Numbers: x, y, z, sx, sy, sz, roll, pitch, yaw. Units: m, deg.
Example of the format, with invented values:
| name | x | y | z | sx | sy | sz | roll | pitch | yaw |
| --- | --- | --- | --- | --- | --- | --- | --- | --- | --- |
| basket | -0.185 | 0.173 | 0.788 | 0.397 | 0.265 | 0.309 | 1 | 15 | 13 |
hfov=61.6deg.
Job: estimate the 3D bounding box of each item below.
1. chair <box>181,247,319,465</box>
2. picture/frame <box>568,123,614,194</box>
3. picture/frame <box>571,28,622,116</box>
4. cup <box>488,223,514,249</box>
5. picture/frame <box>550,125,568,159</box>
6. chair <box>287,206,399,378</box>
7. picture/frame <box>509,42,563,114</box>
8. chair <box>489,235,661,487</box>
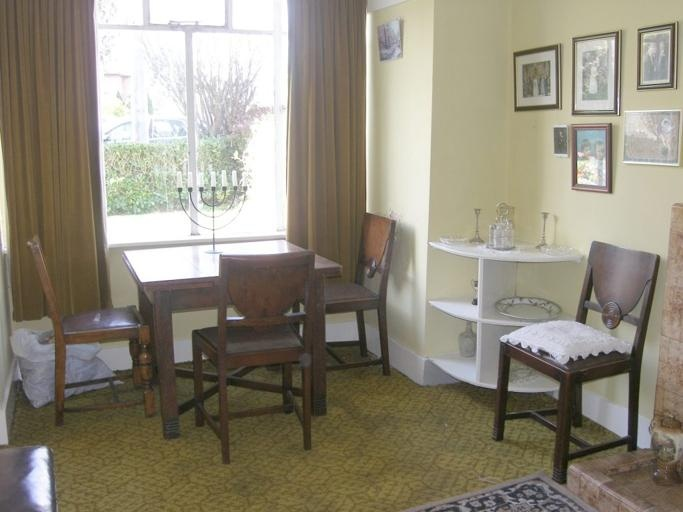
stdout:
| name | x | y | z | sx | sy | sz | roll | pitch | yaw |
| --- | --- | --- | --- | --- | --- | --- | --- | --- | --- |
| chair | -0.543 | 0.623 | 3.452 | 0.808 | 1.668 | 0.938 | -3 | 16 | -20 |
| picture/frame | 1.549 | -0.604 | 3.542 | 0.049 | 0.561 | 0.388 | -4 | 7 | -26 |
| picture/frame | 1.546 | -1.094 | 3.480 | 0.068 | 0.469 | 0.366 | -8 | 15 | -23 |
| cup | 1.065 | -0.146 | 3.852 | 0.149 | 0.197 | 0.158 | -2 | 12 | 0 |
| picture/frame | 1.430 | -0.750 | 3.762 | 0.025 | 0.275 | 0.217 | -1 | 2 | -17 |
| chair | 0.034 | 0.200 | 5.038 | 0.923 | 1.840 | 0.962 | -2 | 8 | -26 |
| picture/frame | 1.316 | -1.195 | 3.852 | 0.034 | 0.529 | 0.479 | -5 | 9 | -30 |
| chair | 1.351 | 0.565 | 3.323 | 0.731 | 1.159 | 0.629 | -10 | 16 | -27 |
